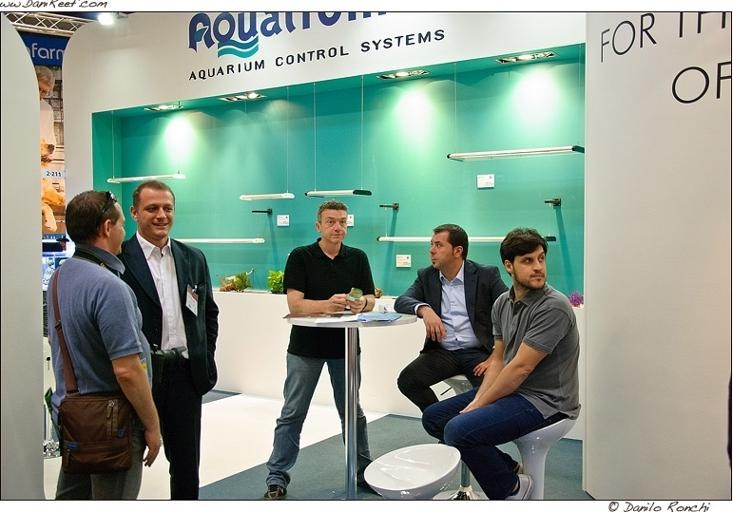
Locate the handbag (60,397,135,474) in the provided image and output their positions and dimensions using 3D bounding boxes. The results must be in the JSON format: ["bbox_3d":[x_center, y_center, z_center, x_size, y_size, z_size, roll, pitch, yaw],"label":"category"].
[{"bbox_3d":[-1.269,0.834,2.385,0.375,0.398,0.227,0,-5,-18],"label":"handbag"}]

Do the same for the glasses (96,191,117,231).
[{"bbox_3d":[-1.306,-0.213,2.574,0.047,0.151,0.150,37,9,-26],"label":"glasses"}]

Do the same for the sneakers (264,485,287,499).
[{"bbox_3d":[-0.653,1.675,3.640,0.159,0.084,0.155,-1,2,-12],"label":"sneakers"}]

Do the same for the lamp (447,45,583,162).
[{"bbox_3d":[1.527,-1.514,5.084,1.244,1.063,0.479,1,2,28],"label":"lamp"}]
